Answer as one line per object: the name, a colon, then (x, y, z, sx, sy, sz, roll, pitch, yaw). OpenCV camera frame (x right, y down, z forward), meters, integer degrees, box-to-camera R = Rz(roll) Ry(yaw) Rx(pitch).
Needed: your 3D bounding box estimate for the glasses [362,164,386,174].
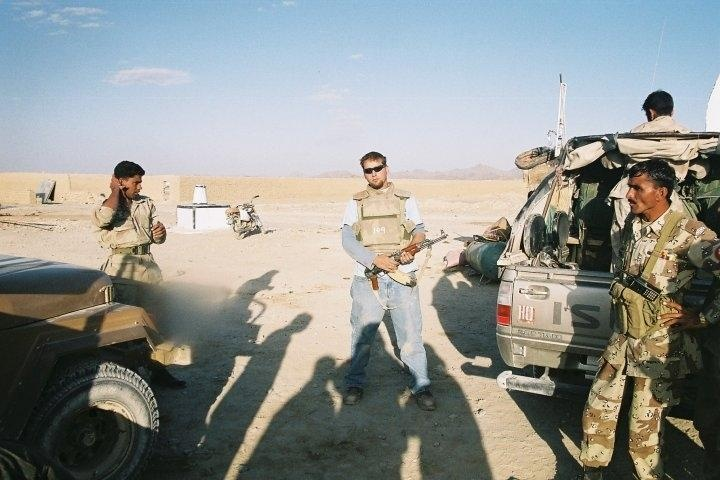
glasses: (0.165, -0.773, 5.987, 0.252, 0.106, 0.142, 1, 14, 3)

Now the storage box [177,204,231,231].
storage box: (-5.588, -0.774, 19.361, 1.295, 0.738, 1.317, 3, 2, 41)

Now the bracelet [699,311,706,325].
bracelet: (2.814, 0.649, 4.511, 0.061, 0.097, 0.042, 4, 16, 17)

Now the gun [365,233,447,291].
gun: (0.494, 0.251, 5.997, 0.862, 0.608, 0.266, 0, 15, 1)

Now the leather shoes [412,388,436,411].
leather shoes: (0.708, 1.753, 6.046, 0.146, 0.122, 0.300, -2, 1, -28)

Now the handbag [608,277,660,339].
handbag: (2.282, 0.566, 4.764, 0.514, 0.563, 0.466, 0, 6, 9)

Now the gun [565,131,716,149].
gun: (3.052, -1.086, 5.992, 1.483, 0.195, 0.283, 4, 14, 17)
